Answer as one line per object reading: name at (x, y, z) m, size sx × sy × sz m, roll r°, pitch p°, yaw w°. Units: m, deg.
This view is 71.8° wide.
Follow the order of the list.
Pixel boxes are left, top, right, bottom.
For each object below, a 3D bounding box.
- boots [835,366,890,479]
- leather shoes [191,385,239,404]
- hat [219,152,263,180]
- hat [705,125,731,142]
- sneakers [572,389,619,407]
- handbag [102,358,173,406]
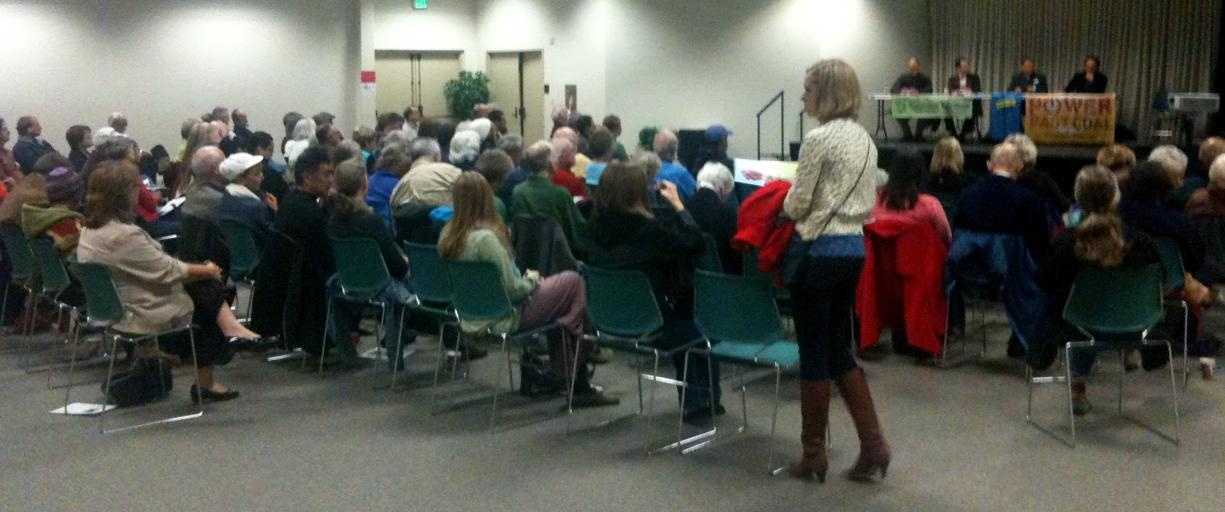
boots at (2.880, 1.908, 9.665) m, size 0.628 × 1.352 × 0.279 m, roll 2°, pitch 12°, yaw 14°
leather shoes at (-5.061, 1.766, 10.841) m, size 0.538 × 0.199 × 0.232 m, roll -4°, pitch 4°, yaw -16°
hat at (-5.006, -1.257, 11.379) m, size 0.481 × 0.223 × 0.363 m, roll -36°, pitch 36°, yaw -19°
hat at (1.548, -1.757, 12.025) m, size 0.299 × 0.139 × 0.449 m, roll 9°, pitch 14°, yaw 41°
sneakers at (-0.260, 1.791, 10.711) m, size 0.680 × 0.232 × 0.215 m, roll -1°, pitch 0°, yaw -6°
handbag at (-6.065, 1.654, 11.110) m, size 0.862 × 0.717 × 0.478 m, roll 9°, pitch -6°, yaw -9°
